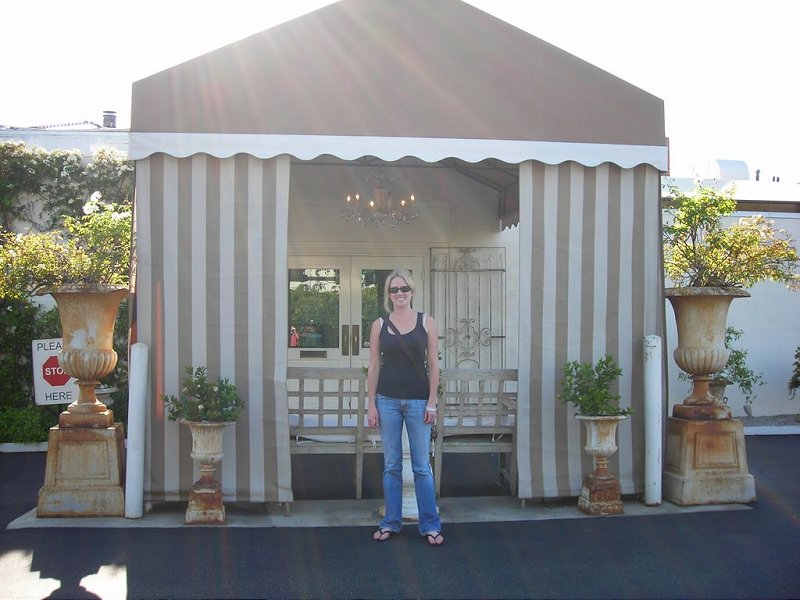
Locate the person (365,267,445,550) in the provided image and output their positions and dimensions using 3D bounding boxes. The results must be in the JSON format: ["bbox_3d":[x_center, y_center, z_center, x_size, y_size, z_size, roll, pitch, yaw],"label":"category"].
[{"bbox_3d":[0.052,0.892,6.343,0.660,2.256,0.456,0,5,-1],"label":"person"}]

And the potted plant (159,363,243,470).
[{"bbox_3d":[-1.721,1.076,6.797,0.565,0.826,0.579,-1,-15,31],"label":"potted plant"}]

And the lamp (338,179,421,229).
[{"bbox_3d":[-0.248,-1.184,9.625,0.677,0.413,0.683,3,4,24],"label":"lamp"}]
